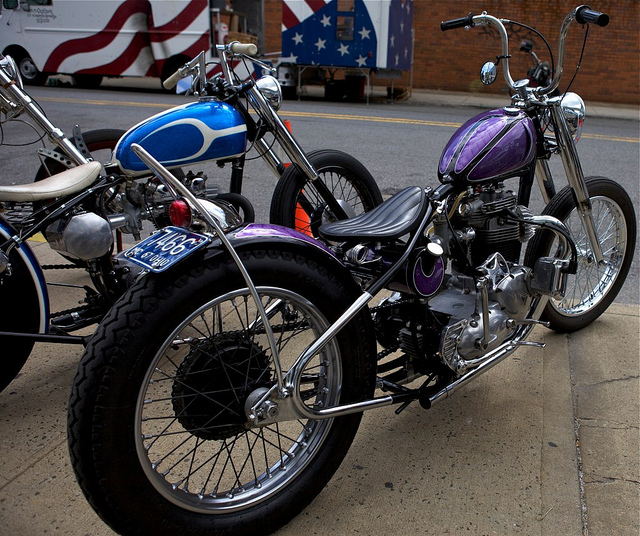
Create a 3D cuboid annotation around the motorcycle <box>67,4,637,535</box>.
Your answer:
[{"bbox_3d":[0.268,0.092,2.895,1.234,1.906,2.957,28,46,31],"label":"motorcycle"}]
